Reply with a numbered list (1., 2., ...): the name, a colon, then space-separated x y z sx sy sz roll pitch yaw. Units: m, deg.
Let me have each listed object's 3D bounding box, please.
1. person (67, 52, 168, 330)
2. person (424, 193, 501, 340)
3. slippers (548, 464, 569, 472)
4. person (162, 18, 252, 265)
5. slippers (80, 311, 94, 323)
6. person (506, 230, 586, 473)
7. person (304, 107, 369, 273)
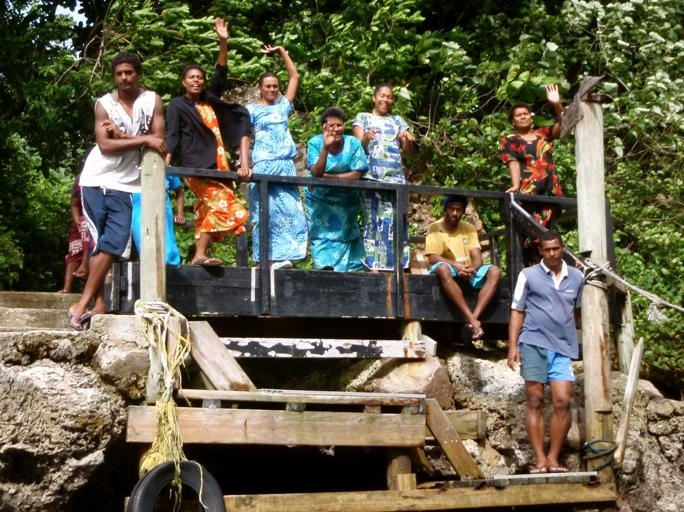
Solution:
1. person: -2.184 -0.630 12.768 0.930 2.614 0.556 -1 5 -8
2. person: 1.291 0.122 14.078 0.724 1.472 0.856 -2 5 -17
3. slippers: 2.162 2.112 13.097 0.180 0.076 0.099 -3 -8 4
4. person: -1.369 -1.192 13.560 0.866 2.514 0.990 -1 5 -4
5. slippers: -2.469 0.600 12.682 0.119 0.035 0.117 -45 5 -32
6. person: 2.043 0.946 13.272 0.714 2.341 0.709 1 5 10
7. person: -0.050 -0.694 14.019 0.674 1.734 0.641 -1 5 -4
